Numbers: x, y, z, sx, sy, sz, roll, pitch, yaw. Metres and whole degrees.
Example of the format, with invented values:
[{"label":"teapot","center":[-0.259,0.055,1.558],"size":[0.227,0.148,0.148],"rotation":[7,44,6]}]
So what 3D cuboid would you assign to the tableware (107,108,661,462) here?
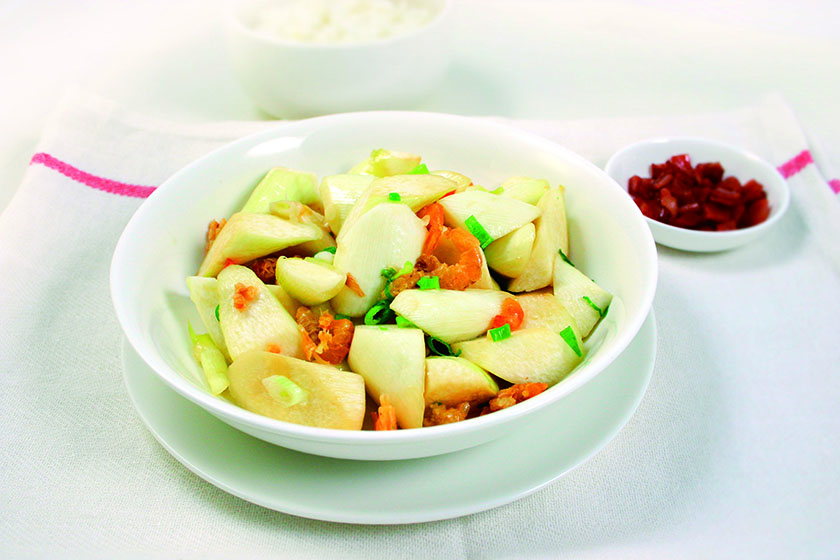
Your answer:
[{"label":"tableware","center":[-0.098,0.029,1.562],"size":[1.088,0.713,0.944],"rotation":[-4,22,-12]}]

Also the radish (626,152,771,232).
[{"label":"radish","center":[0.772,-0.242,1.808],"size":[0.258,0.199,0.364],"rotation":[-21,28,-41]}]

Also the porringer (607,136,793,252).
[{"label":"porringer","center":[0.773,-0.275,1.782],"size":[0.379,0.116,0.390],"rotation":[-5,44,-3]}]
